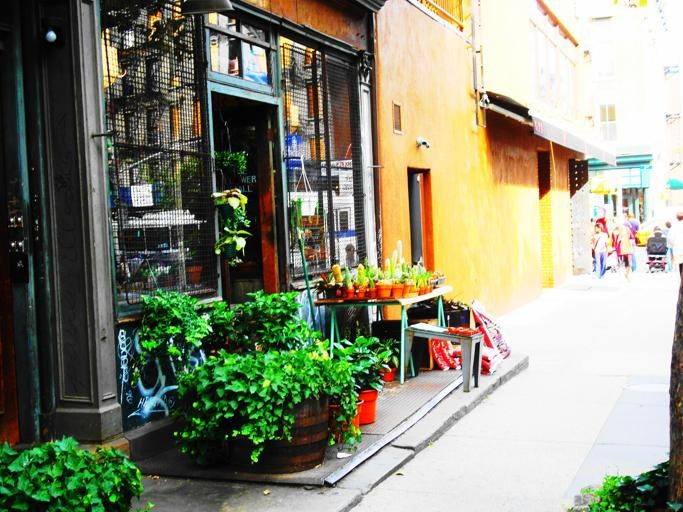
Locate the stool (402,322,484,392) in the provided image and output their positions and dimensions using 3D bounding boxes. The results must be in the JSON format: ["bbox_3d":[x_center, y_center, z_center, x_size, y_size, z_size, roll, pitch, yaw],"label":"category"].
[{"bbox_3d":[1.327,1.080,8.431,1.138,1.051,0.661,7,11,37],"label":"stool"}]

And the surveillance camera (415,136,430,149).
[{"bbox_3d":[1.390,-1.957,11.217,0.200,0.152,0.193,6,7,13],"label":"surveillance camera"}]
